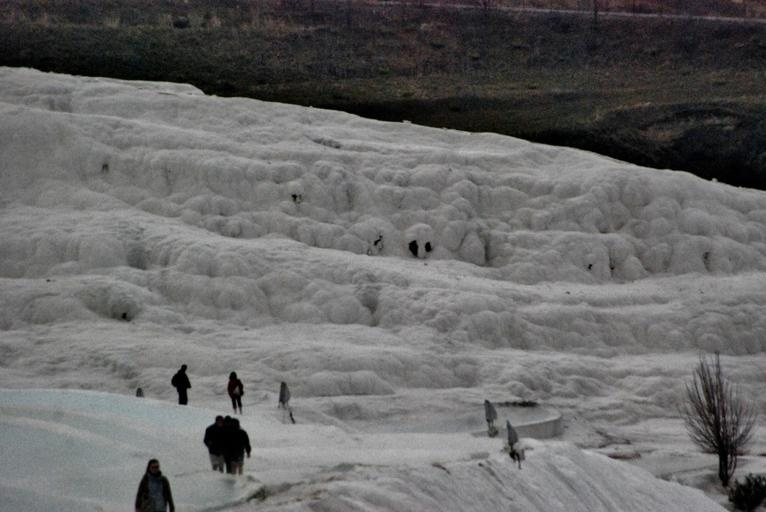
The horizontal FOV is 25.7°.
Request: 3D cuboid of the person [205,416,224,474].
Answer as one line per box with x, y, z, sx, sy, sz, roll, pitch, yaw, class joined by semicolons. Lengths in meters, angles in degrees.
-12.422;13.862;124.911;1.379;4.097;0.955;2;-6;-2;person
